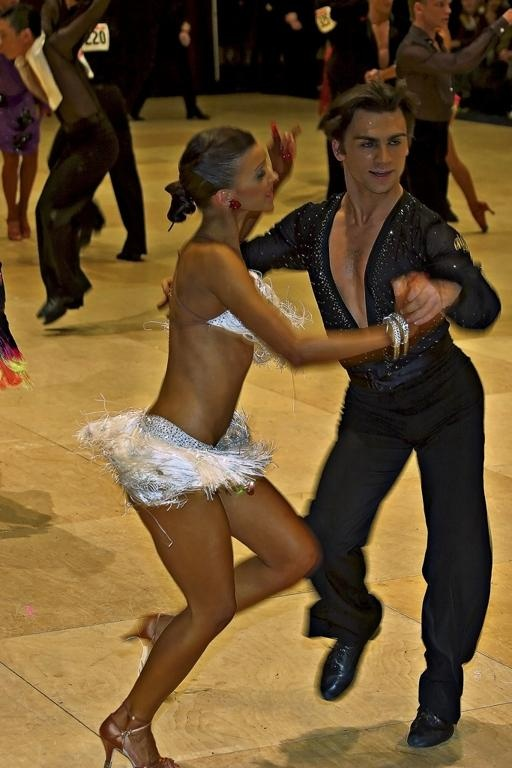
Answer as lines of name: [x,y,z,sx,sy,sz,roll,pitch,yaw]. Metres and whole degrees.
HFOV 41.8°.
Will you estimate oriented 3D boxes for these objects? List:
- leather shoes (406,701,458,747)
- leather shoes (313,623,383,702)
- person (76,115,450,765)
leather shoes: [0.457,0.874,1.761,0.081,0.073,0.133,4,7,43]
leather shoes: [0.264,0.828,2.032,0.087,0.238,0.099,34,-6,4]
person: [-0.058,0.192,1.503,0.552,1.491,0.435,0,3,-19]
